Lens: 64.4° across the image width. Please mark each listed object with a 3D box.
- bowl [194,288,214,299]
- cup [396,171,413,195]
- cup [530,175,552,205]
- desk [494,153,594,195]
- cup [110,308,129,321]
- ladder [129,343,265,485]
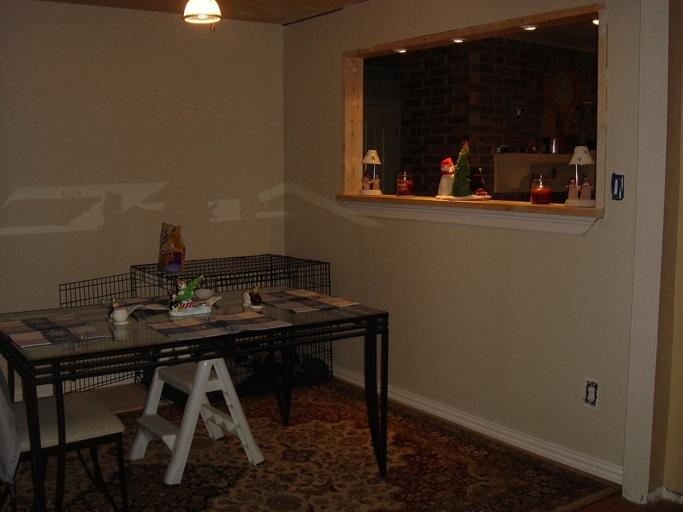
[{"bbox_3d":[-0.787,0.211,3.123,0.069,0.030,0.073,-1,4,0],"label":"bowl"},{"bbox_3d":[0.468,-0.546,4.051,0.106,0.168,0.128,1,8,2],"label":"cup"},{"bbox_3d":[1.193,-0.400,3.255,0.109,0.172,0.217,3,9,20],"label":"cup"},{"bbox_3d":[2.244,-0.934,6.097,1.319,0.443,0.478,-7,11,-43],"label":"desk"},{"bbox_3d":[-1.121,0.287,2.744,0.056,0.052,0.075,10,14,41],"label":"cup"},{"bbox_3d":[-0.861,0.802,3.267,0.724,0.778,0.742,2,-2,-32],"label":"ladder"}]
